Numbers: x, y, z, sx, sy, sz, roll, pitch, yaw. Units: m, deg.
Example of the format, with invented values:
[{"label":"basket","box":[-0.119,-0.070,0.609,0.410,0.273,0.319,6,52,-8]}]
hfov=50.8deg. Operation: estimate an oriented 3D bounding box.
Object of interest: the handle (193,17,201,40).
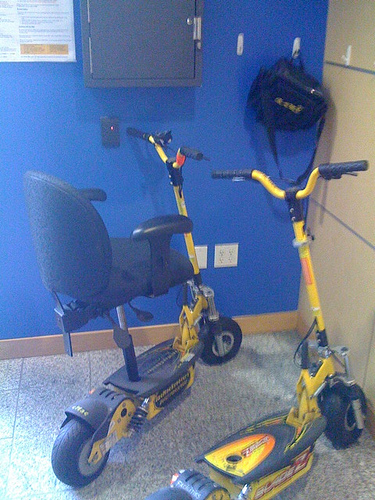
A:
[{"label":"handle","box":[0.038,-0.888,1.582,0.030,0.078,0.019,0,14,3]}]

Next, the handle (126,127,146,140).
[{"label":"handle","box":[-0.223,-0.497,1.676,0.041,0.049,0.171,15,8,-37]}]

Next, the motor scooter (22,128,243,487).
[{"label":"motor scooter","box":[-0.151,0.157,1.375,0.812,0.975,0.439,-27,25,-38]}]

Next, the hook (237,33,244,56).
[{"label":"hook","box":[0.227,-0.883,1.695,0.030,0.087,0.016,0,14,1]}]

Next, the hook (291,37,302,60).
[{"label":"hook","box":[0.472,-0.875,1.717,0.037,0.084,0.043,17,18,25]}]

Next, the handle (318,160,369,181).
[{"label":"handle","box":[0.405,-0.211,1.045,0.112,0.057,0.175,5,17,18]}]
